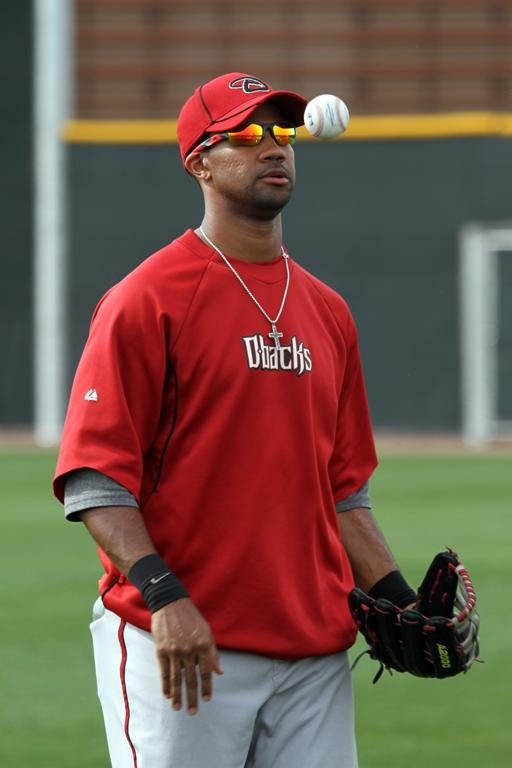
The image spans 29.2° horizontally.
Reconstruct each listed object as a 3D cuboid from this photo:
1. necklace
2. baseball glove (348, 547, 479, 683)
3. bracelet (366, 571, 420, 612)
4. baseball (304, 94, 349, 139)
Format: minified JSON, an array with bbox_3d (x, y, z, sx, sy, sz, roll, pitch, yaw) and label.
[{"bbox_3d":[-0.002,-0.211,2.238,0.137,0.277,0.248,13,19,39],"label":"necklace"},{"bbox_3d":[0.354,0.533,2.245,0.295,0.229,0.338,27,-13,9],"label":"baseball glove"},{"bbox_3d":[0.322,0.487,2.325,0.084,0.087,0.073,-3,6,-24],"label":"bracelet"},{"bbox_3d":[0.146,-0.631,2.341,0.100,0.105,0.105,8,12,37],"label":"baseball"}]
